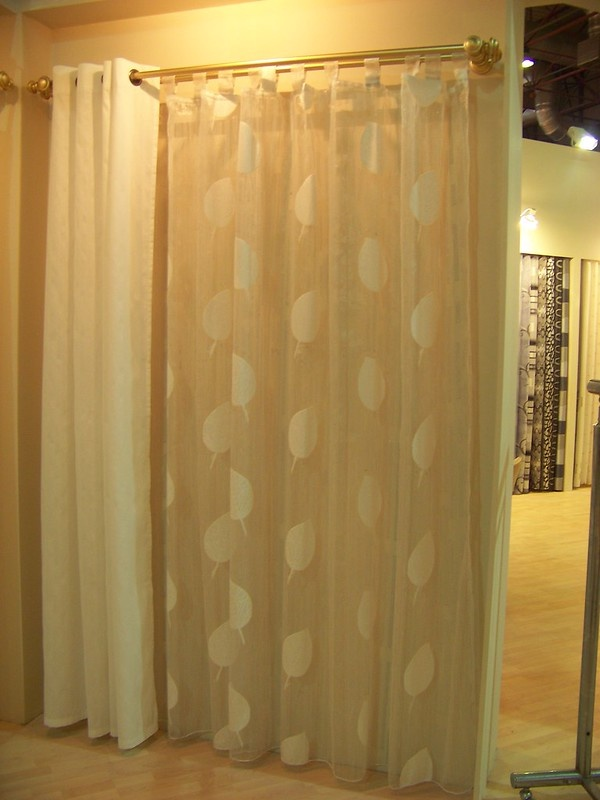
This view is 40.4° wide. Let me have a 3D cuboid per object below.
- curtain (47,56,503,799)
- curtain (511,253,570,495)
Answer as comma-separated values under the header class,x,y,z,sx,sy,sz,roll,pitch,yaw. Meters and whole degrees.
class,x,y,z,sx,sy,sz,roll,pitch,yaw
curtain,-0.034,0.065,2.361,1.513,2.717,0.241,0,3,11
curtain,2.070,-0.460,7.072,0.459,0.174,2.046,5,58,11
